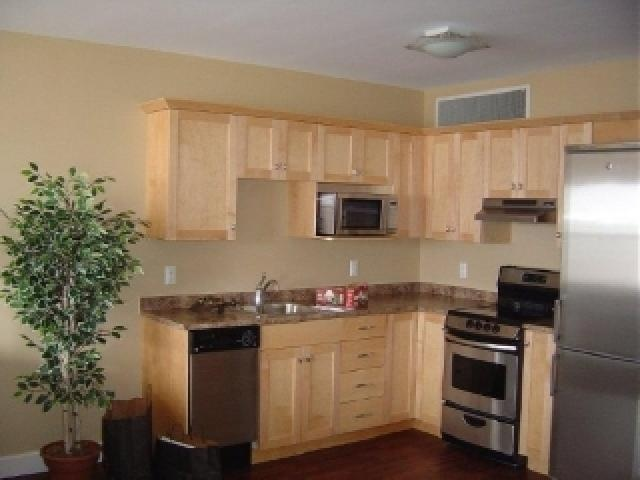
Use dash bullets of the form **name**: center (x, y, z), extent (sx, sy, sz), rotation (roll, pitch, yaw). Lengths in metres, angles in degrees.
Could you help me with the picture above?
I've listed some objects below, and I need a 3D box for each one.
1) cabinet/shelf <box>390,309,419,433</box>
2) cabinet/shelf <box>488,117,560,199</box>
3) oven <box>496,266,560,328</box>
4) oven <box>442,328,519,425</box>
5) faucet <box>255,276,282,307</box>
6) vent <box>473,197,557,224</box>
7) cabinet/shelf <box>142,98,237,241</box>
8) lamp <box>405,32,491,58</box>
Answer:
- **cabinet/shelf**: center (0.739, 1.128, 5.008), extent (0.280, 0.947, 0.136), rotation (1, 7, -37)
- **cabinet/shelf**: center (1.877, -0.697, 5.002), extent (0.412, 0.671, 0.781), rotation (-10, 12, -36)
- **oven**: center (1.695, 0.476, 4.549), extent (0.501, 0.405, 0.276), rotation (5, 5, 41)
- **oven**: center (1.333, 1.063, 4.714), extent (0.586, 0.693, 0.801), rotation (1, 0, -36)
- **faucet**: center (-0.478, 0.427, 4.865), extent (0.075, 0.271, 0.214), rotation (16, 9, 27)
- **vent**: center (1.701, -0.261, 4.877), extent (0.673, 0.249, 0.133), rotation (8, 6, 37)
- **cabinet/shelf**: center (-1.100, -0.560, 4.597), extent (0.451, 1.079, 0.841), rotation (9, 10, 38)
- **lamp**: center (0.957, -1.464, 4.219), extent (0.642, 0.121, 0.405), rotation (5, 5, 9)
